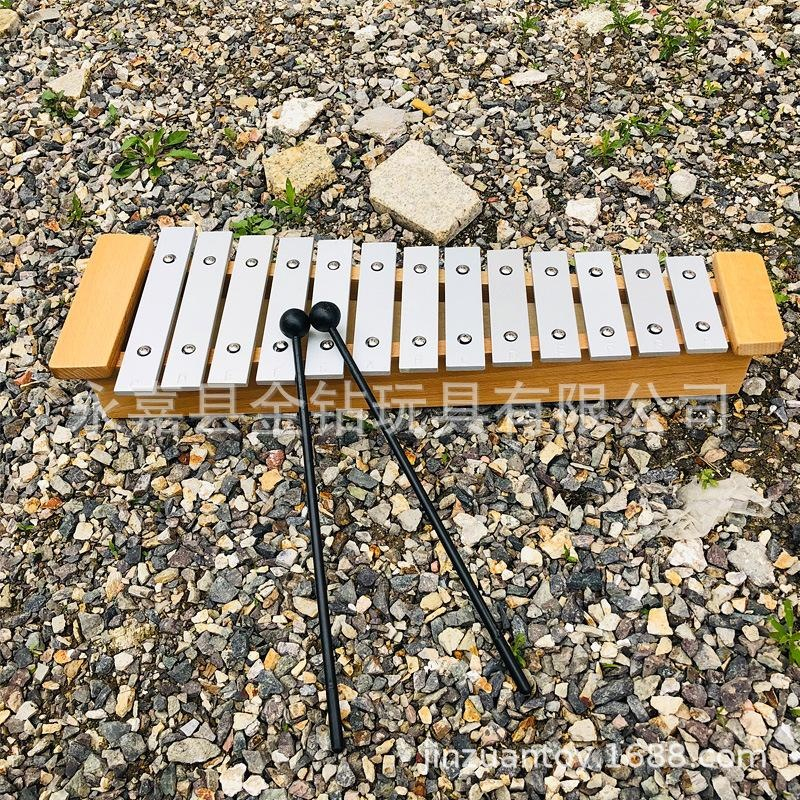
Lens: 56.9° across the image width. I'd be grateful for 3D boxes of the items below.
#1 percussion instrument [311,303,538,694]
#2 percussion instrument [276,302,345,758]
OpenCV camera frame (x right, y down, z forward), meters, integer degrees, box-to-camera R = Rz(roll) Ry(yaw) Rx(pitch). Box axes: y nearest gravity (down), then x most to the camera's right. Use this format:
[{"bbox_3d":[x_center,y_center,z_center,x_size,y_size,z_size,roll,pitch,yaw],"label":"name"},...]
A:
[{"bbox_3d":[0.075,0.308,2.208,0.127,0.127,1.254,-34,73,12],"label":"percussion instrument"},{"bbox_3d":[-0.286,0.190,2.053,0.150,0.153,1.438,1,62,-19],"label":"percussion instrument"}]
